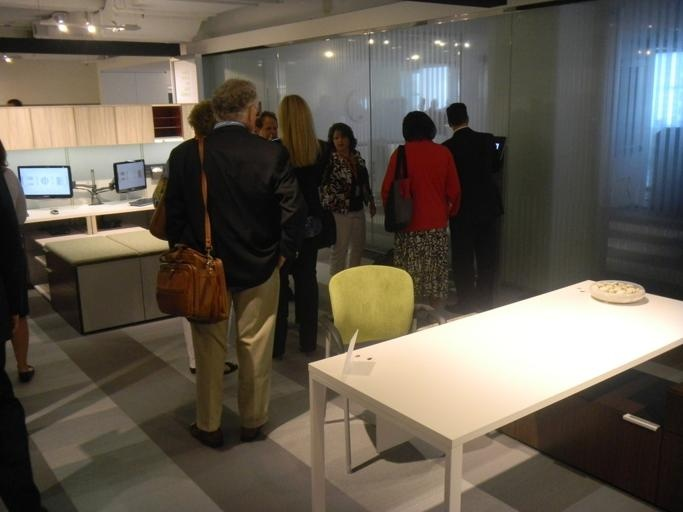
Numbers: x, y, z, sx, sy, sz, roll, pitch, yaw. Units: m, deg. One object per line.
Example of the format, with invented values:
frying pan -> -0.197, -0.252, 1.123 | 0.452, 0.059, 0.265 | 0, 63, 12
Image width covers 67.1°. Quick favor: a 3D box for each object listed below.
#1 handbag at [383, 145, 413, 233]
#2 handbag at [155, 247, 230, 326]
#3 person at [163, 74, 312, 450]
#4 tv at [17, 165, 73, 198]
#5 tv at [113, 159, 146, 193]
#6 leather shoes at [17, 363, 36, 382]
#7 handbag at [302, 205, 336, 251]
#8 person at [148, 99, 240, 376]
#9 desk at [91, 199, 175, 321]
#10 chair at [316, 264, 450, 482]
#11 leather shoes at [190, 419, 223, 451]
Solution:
handbag -> 0.450, -0.541, 4.163 | 0.214, 0.668, 0.172 | -6, 15, -13
handbag -> -0.928, 0.158, 3.049 | 0.413, 0.437, 0.235 | -1, 2, 35
person -> -0.674, 0.078, 3.297 | 0.841, 2.263, 0.591 | 4, 15, 4
tv -> -3.540, -0.896, 6.098 | 0.560, 0.431, 0.081 | -2, 10, -15
tv -> -2.746, -1.054, 6.696 | 0.075, 0.409, 0.503 | 10, 19, 25
leather shoes -> -2.492, 0.923, 4.053 | 0.064, 0.077, 0.177 | -3, 24, -26
handbag -> -0.169, -0.223, 4.146 | 0.276, 0.307, 0.304 | -1, 7, -15
person -> -1.100, 0.020, 3.926 | 0.686, 2.353, 0.564 | -6, 25, -22
desk -> -2.221, 0.150, 5.185 | 0.822, 0.701, 0.857 | -7, 14, -32
chair -> 0.246, 0.683, 3.207 | 0.738, 1.047, 0.765 | 4, 29, 20
leather shoes -> -0.865, 1.123, 3.289 | 0.106, 0.131, 0.206 | -13, 36, -38
